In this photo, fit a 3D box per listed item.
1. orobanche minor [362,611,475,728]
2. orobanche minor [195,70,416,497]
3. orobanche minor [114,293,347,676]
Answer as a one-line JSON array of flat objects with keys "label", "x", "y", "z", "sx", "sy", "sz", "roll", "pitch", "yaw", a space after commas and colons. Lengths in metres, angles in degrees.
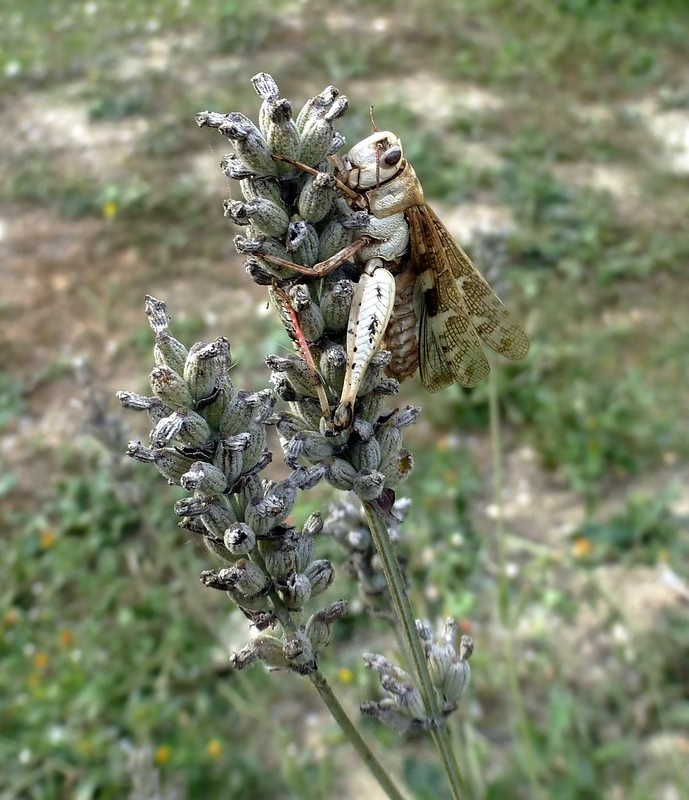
[{"label": "orobanche minor", "x": 0.261, "y": 0.882, "z": 3.193, "sx": 0.284, "sy": 0.393, "sz": 0.393, "roll": -2, "pitch": 6, "yaw": 23}, {"label": "orobanche minor", "x": -0.083, "y": -0.356, "z": 3.214, "sx": 0.812, "sy": 1.191, "sz": 0.750, "roll": -1, "pitch": 11, "yaw": 25}, {"label": "orobanche minor", "x": -0.320, "y": 0.307, "z": 2.963, "sx": 0.438, "sy": 0.940, "sz": 0.839, "roll": -20, "pitch": 49, "yaw": -5}]
